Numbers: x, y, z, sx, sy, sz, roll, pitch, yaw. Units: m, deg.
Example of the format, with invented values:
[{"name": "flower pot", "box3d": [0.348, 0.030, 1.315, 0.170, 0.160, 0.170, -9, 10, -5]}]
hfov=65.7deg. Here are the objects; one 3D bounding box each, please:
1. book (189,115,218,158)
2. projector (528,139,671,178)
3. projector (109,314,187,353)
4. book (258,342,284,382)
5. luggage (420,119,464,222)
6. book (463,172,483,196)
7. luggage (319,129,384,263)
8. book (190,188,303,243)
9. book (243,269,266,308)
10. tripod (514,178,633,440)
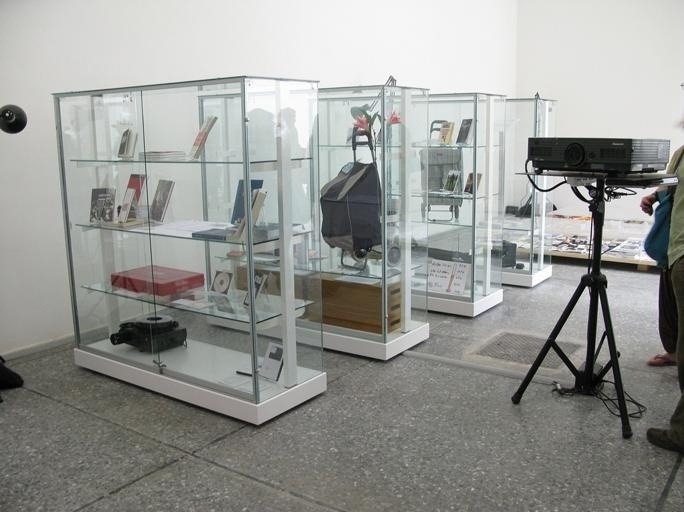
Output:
[{"name": "book", "box3d": [-0.836, -0.722, 3.262, 0.053, 0.216, 0.218, 12, -11, -38]}, {"name": "projector", "box3d": [1.564, -0.618, 3.253, 0.790, 0.221, 0.431, 7, 17, 25]}, {"name": "projector", "box3d": [-1.353, 0.546, 3.821, 0.443, 0.203, 0.298, 5, 10, 31]}, {"name": "book", "box3d": [-0.435, 0.685, 3.370, 0.166, 0.246, 0.057, 17, 4, 15]}, {"name": "luggage", "box3d": [0.790, -0.783, 4.813, 0.449, 0.983, 0.680, 2, 7, 9]}, {"name": "book", "box3d": [1.212, -0.674, 4.926, 0.131, 0.260, 0.139, 19, 14, 20]}, {"name": "luggage", "box3d": [0.087, -0.523, 4.328, 0.523, 1.050, 0.513, -7, 10, -40]}, {"name": "book", "box3d": [-0.620, -0.253, 3.149, 0.378, 0.167, 0.384, 7, 15, 26]}, {"name": "book", "box3d": [-0.514, 0.211, 3.282, 0.183, 0.191, 0.043, 4, -8, 36]}, {"name": "tripod", "box3d": [1.682, 0.187, 3.646, 0.704, 1.555, 1.272, 7, 17, 27]}]
